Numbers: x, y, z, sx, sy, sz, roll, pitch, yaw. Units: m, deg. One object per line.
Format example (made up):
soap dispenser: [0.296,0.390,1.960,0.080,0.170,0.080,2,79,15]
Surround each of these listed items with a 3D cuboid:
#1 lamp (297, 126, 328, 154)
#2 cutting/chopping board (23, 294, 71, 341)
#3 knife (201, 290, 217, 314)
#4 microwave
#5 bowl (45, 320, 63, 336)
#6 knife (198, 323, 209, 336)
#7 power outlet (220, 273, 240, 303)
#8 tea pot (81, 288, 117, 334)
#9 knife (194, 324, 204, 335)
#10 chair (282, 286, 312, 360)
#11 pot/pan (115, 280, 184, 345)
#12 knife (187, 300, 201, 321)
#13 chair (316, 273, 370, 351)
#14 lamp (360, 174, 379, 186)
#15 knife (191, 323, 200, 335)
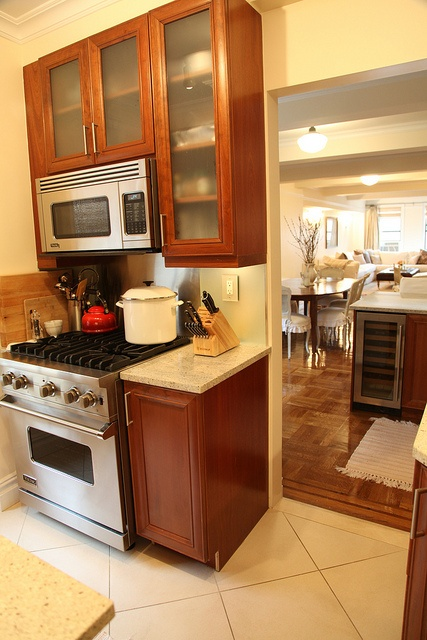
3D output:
lamp: [0.821,-1.471,3.913,0.219,0.276,0.223,-2,7,-19]
cutting/chopping board: [-0.869,-0.029,2.437,0.008,0.187,0.257,1,10,35]
knife: [-0.019,-0.072,1.923,0.042,0.120,0.036,-18,51,3]
microwave: [-0.506,-0.493,2.141,0.647,0.364,0.231,2,12,28]
bowl: [-0.817,0.038,2.364,0.073,0.065,0.075,-1,13,0]
knife: [-0.046,0.038,1.915,0.043,0.043,0.012,-7,15,27]
power outlet: [0.079,-0.151,2.128,0.118,0.179,0.021,5,10,35]
tea pot: [-0.615,-0.055,2.432,0.199,0.216,0.184,-4,12,1]
knife: [-0.058,0.040,1.916,0.031,0.047,0.012,7,29,29]
chair: [0.921,0.000,5.014,0.349,0.668,0.369,0,6,-14]
pot/pan: [-0.301,-0.038,2.107,0.299,0.287,0.241,0,9,13]
knife: [-0.081,-0.031,1.945,0.037,0.026,0.170,-1,-29,14]
chair: [1.433,-0.094,5.247,0.498,0.760,0.435,5,14,37]
lamp: [2.184,-1.960,6.477,0.211,0.140,0.215,-3,9,-10]
knife: [-0.072,0.036,1.925,0.011,0.042,0.043,-8,-9,-42]
